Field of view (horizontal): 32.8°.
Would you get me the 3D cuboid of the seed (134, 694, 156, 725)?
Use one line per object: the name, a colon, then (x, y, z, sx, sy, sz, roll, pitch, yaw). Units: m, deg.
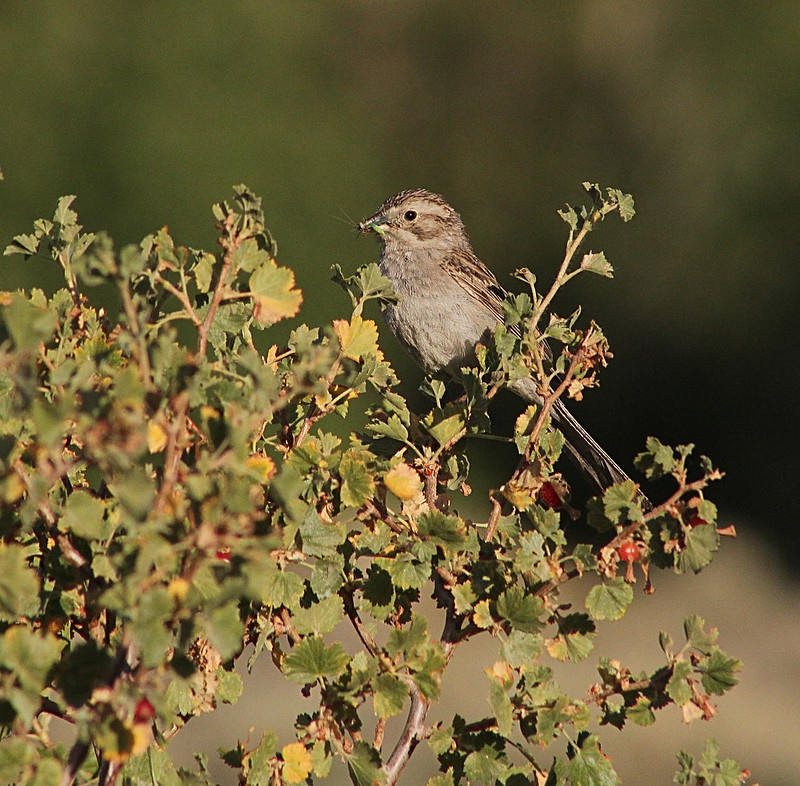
seed: (-0.590, 0.732, 3.118, 0.043, 0.051, 0.062, 16, -43, -4)

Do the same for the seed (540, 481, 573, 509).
seed: (0.469, 0.299, 4.057, 0.067, 0.020, 0.089, 11, -73, 30)
